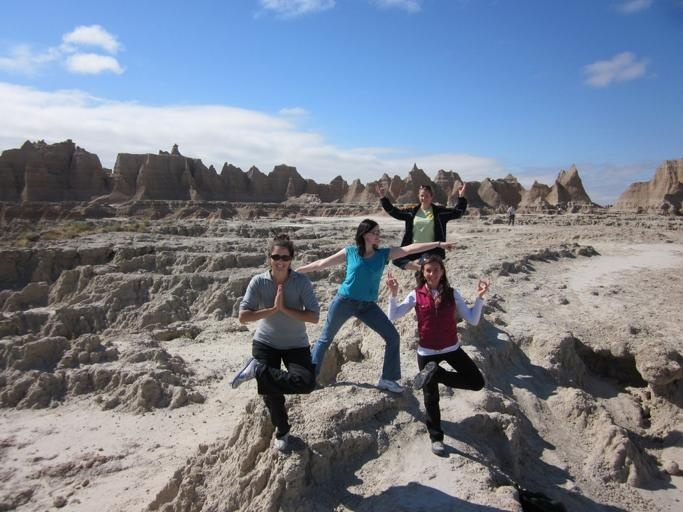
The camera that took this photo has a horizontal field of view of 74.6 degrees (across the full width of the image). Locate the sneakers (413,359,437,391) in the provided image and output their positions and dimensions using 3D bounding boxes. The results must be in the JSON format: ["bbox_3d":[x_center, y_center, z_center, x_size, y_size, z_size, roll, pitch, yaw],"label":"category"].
[{"bbox_3d":[1.055,1.481,5.657,0.179,0.421,0.190,44,-6,-35],"label":"sneakers"}]

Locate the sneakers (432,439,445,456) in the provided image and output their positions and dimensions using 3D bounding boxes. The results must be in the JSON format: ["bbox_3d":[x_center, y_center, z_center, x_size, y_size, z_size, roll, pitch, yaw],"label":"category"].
[{"bbox_3d":[1.232,2.428,5.656,0.190,0.168,0.106,-1,5,11],"label":"sneakers"}]

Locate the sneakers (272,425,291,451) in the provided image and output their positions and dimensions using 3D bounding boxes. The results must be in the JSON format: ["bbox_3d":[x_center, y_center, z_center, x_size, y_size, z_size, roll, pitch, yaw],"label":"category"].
[{"bbox_3d":[-0.750,2.286,5.524,0.122,0.258,0.362,-3,-29,5],"label":"sneakers"}]

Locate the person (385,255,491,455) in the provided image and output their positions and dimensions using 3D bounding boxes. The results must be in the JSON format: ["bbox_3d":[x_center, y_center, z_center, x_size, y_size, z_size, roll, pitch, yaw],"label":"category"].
[{"bbox_3d":[1.243,1.242,5.827,1.263,2.492,0.654,0,5,13],"label":"person"}]

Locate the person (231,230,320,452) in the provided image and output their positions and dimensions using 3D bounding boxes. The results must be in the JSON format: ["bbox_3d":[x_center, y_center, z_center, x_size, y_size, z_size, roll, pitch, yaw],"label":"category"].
[{"bbox_3d":[-0.779,0.691,5.483,0.994,1.910,0.533,-2,5,-3],"label":"person"}]

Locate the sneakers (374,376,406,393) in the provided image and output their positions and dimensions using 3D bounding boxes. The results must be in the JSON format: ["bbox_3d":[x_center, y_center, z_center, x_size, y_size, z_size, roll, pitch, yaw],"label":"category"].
[{"bbox_3d":[0.674,1.807,6.306,0.416,0.211,0.158,11,9,6],"label":"sneakers"}]
